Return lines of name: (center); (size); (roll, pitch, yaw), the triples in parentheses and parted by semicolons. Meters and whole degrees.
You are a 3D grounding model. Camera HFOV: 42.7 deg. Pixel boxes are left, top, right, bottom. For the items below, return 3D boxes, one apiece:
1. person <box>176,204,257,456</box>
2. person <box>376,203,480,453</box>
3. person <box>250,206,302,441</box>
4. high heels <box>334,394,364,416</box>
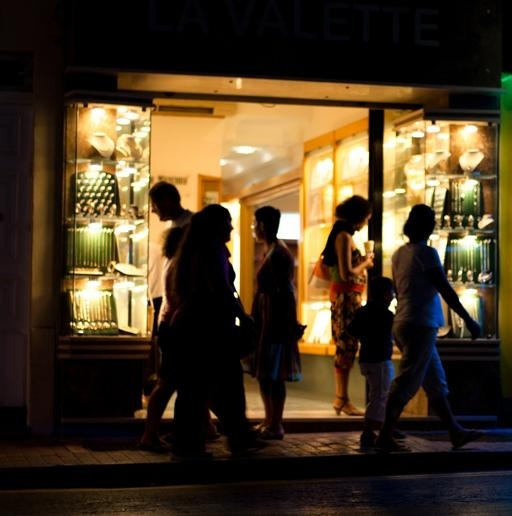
person: (-0.276, 0.466, 4.082); (0.484, 1.576, 0.351); (0, 3, -1)
person: (1.192, 0.495, 4.583); (0.681, 1.735, 0.564); (0, 3, 7)
person: (0.159, 0.512, 4.859); (0.390, 1.782, 0.671); (0, 3, -1)
high heels: (0.817, 1.339, 5.951); (0.322, 0.204, 0.117); (-2, -4, 28)
